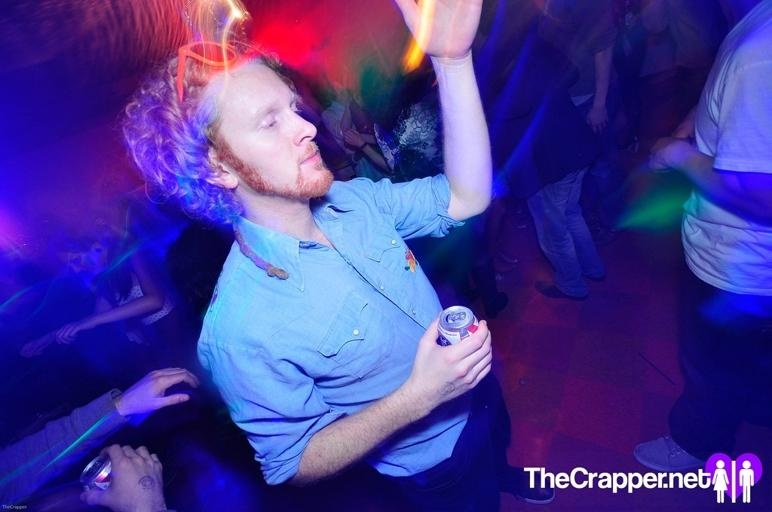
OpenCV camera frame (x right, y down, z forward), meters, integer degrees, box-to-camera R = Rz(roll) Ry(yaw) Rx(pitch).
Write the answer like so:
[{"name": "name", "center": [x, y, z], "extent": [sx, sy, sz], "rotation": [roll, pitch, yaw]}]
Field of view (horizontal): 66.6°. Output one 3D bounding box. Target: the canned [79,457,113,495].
[{"name": "canned", "center": [-1.866, 1.425, 3.836], "extent": [0.164, 0.129, 0.221], "rotation": [16, 51, 34]}]

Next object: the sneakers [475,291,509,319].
[{"name": "sneakers", "center": [1.013, 0.422, 5.506], "extent": [0.223, 0.261, 0.274], "rotation": [-24, 0, -7]}]
